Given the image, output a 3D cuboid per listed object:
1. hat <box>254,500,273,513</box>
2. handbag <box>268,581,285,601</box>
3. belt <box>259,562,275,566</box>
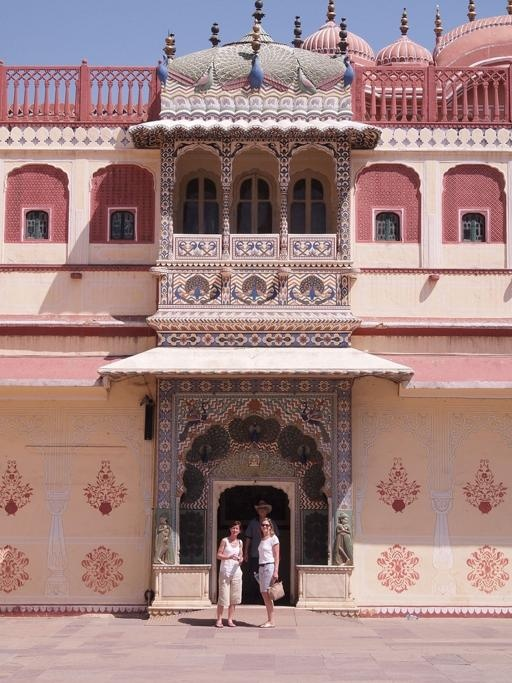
[{"bbox_3d":[0.083,2.129,18.255,0.221,0.100,0.257,0,-33,4],"label":"hat"},{"bbox_3d":[0.226,2.980,16.802,0.153,0.208,0.381,0,0,6],"label":"handbag"},{"bbox_3d":[0.114,2.627,16.669,0.163,0.054,0.049,0,0,9],"label":"belt"}]
